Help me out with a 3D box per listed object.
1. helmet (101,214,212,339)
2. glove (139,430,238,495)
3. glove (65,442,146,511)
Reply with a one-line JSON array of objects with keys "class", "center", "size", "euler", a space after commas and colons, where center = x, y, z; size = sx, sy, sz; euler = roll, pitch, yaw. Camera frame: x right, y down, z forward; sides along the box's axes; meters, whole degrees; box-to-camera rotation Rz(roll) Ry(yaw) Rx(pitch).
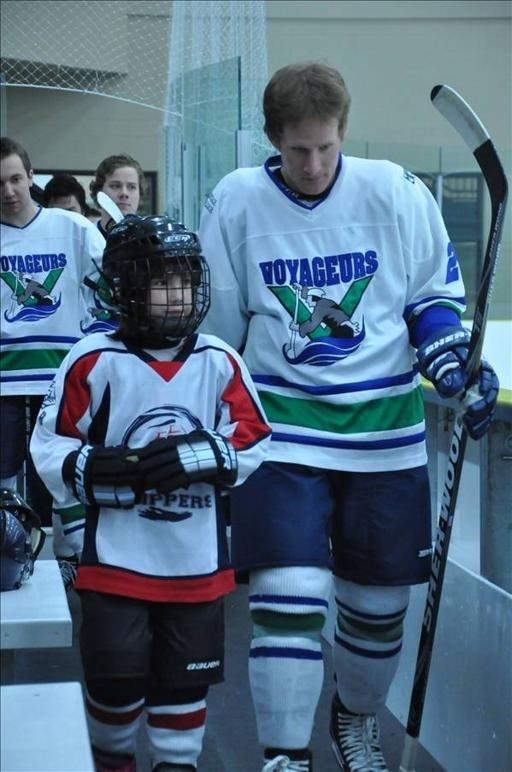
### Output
[{"class": "helmet", "center": [-0.173, -0.195, 1.685], "size": [0.166, 0.204, 0.203], "euler": [-14, 15, -42]}, {"class": "glove", "center": [-0.107, 0.128, 1.548], "size": [0.161, 0.101, 0.086], "euler": [-1, 12, -7]}, {"class": "glove", "center": [-0.240, 0.144, 1.590], "size": [0.110, 0.112, 0.085], "euler": [0, 31, 1]}]
